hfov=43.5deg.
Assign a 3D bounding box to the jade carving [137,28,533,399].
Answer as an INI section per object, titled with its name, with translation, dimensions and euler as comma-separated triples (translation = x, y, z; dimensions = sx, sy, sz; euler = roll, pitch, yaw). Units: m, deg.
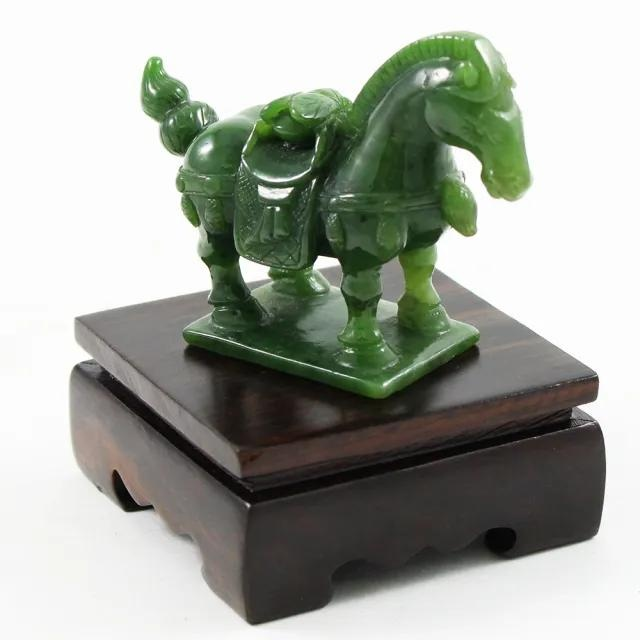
[jade carving]
translation = 0.018, -0.216, 1.415
dimensions = 0.811, 0.536, 0.366
euler = 15, 27, 41
